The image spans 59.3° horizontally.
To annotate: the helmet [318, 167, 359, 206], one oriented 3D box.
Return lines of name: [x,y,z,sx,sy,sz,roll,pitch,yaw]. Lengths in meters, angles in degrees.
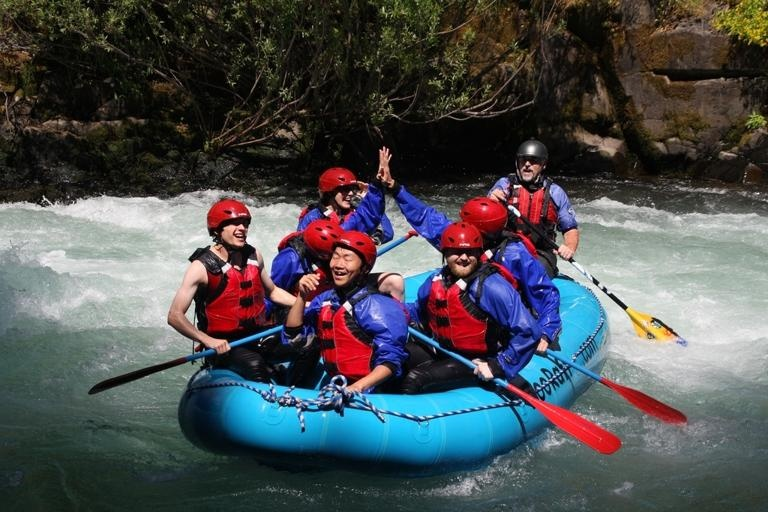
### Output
helmet: [-0.531,-0.826,7.754,0.479,0.361,0.397,3,10,-5]

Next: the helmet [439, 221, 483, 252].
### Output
helmet: [0.779,-0.183,6.756,0.274,0.349,0.275,2,13,4]

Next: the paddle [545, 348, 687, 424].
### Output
paddle: [2.608,1.507,7.652,1.572,0.166,0.138,28,18,10]

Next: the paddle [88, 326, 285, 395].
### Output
paddle: [-2.130,1.164,7.353,2.015,0.198,0.113,-22,16,-12]

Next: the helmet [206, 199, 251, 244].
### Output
helmet: [-1.628,-0.393,7.022,0.473,0.369,0.373,0,3,15]

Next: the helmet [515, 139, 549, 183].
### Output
helmet: [1.961,-1.212,8.724,0.467,0.604,0.542,4,3,24]

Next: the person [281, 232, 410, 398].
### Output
person: [-0.336,0.525,6.542,1.183,1.485,0.583,3,11,0]

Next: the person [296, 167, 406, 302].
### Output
person: [-0.212,-0.307,7.748,1.083,0.897,1.627,-12,40,-40]

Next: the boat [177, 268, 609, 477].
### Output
boat: [0.464,1.538,6.819,3.028,0.655,1.862,-14,26,-32]

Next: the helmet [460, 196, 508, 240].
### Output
helmet: [1.085,-0.420,7.505,0.591,0.431,0.435,3,23,4]

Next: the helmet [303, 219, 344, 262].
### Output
helmet: [-0.619,-0.199,7.033,0.343,0.340,0.439,17,22,11]

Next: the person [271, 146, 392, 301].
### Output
person: [-0.598,-0.273,7.604,1.097,0.807,1.608,13,30,1]
